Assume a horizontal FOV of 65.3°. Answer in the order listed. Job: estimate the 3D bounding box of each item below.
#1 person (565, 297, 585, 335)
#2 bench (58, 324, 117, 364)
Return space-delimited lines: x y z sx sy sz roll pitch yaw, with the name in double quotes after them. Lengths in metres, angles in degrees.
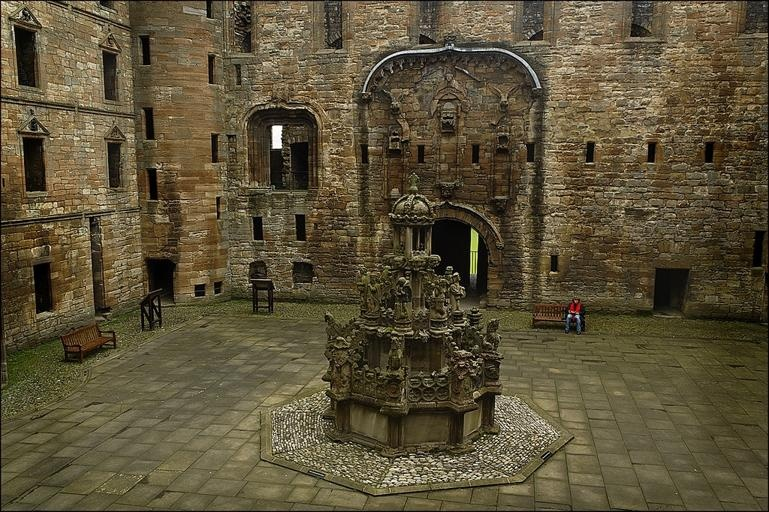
6.591 2.167 21.471 0.629 1.127 0.852 3 6 16 "person"
-9.072 2.707 18.737 0.746 0.773 1.664 3 8 10 "bench"
